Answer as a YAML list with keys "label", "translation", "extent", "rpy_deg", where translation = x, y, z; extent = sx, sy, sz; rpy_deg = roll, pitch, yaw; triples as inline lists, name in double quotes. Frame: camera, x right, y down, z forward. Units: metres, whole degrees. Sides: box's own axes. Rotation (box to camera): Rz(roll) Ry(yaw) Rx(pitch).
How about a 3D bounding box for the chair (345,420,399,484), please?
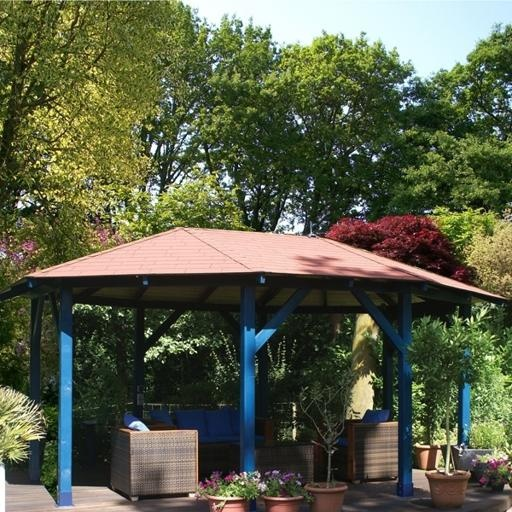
- label: "chair"
  translation: [1.745, 3.076, 12.511]
  extent: [1.048, 0.941, 1.030]
  rpy_deg: [1, -4, -8]

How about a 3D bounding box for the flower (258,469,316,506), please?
- label: "flower"
  translation: [0.335, 2.943, 9.961]
  extent: [0.613, 0.352, 0.641]
  rpy_deg: [3, -14, -10]

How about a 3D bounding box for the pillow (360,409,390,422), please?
- label: "pillow"
  translation: [2.027, 2.671, 12.956]
  extent: [0.437, 0.262, 0.395]
  rpy_deg: [3, -24, 4]

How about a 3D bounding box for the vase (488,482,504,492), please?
- label: "vase"
  translation: [3.576, 3.395, 11.485]
  extent: [0.196, 0.184, 0.192]
  rpy_deg: [-4, -9, 17]

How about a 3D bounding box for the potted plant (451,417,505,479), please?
- label: "potted plant"
  translation: [3.506, 2.985, 12.253]
  extent: [0.978, 1.137, 0.733]
  rpy_deg: [1, -11, 6]

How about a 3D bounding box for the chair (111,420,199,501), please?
- label: "chair"
  translation: [-1.557, 3.001, 11.276]
  extent: [1.446, 0.791, 1.455]
  rpy_deg: [-6, -12, 30]

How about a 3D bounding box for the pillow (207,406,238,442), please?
- label: "pillow"
  translation: [-0.575, 2.926, 13.561]
  extent: [0.461, 0.441, 0.122]
  rpy_deg: [5, -26, -19]
